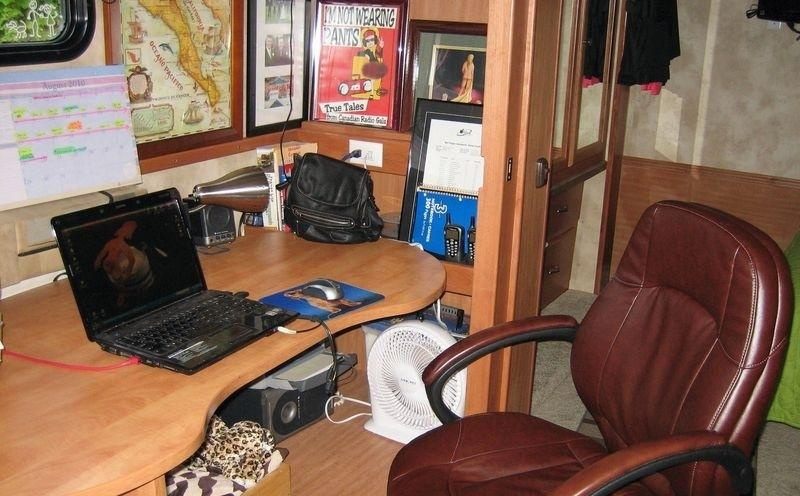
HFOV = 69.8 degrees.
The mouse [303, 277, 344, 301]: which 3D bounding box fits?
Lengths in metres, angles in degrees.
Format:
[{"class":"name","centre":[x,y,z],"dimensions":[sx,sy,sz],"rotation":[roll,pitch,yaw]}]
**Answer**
[{"class":"mouse","centre":[-0.291,0.149,2.215],"dimensions":[0.133,0.048,0.078],"rotation":[7,17,26]}]

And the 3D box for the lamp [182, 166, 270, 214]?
[{"class":"lamp","centre":[-0.765,-0.270,2.544],"dimensions":[0.327,0.181,0.188],"rotation":[-6,17,-28]}]
